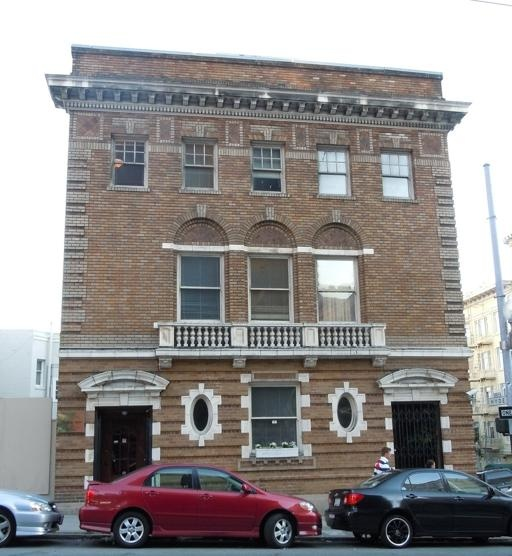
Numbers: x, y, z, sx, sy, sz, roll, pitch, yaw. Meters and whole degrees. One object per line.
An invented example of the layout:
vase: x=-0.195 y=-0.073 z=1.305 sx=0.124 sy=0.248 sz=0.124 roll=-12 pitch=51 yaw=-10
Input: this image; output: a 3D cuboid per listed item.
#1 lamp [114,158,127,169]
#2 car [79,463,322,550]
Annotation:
lamp: x=-3.681 y=-3.042 z=24.170 sx=0.326 sy=0.270 sz=0.280 roll=0 pitch=-9 yaw=-28
car: x=-1.152 y=4.721 z=18.295 sx=4.787 sy=1.398 sz=1.826 roll=0 pitch=-12 yaw=-7
